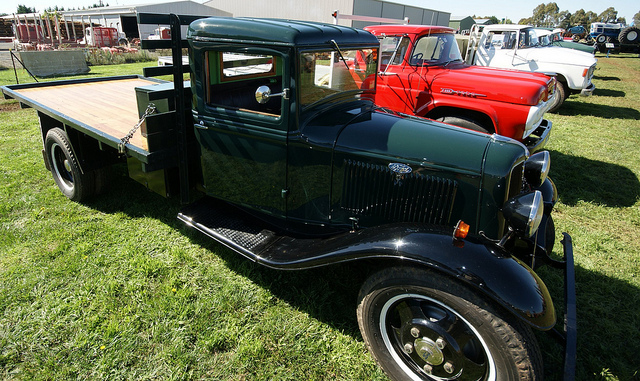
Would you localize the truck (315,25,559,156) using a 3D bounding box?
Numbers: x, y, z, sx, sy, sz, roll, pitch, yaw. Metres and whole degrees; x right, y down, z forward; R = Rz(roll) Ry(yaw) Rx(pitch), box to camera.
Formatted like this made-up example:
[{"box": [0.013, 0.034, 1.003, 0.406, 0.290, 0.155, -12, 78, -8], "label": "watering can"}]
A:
[{"box": [2.111, -1.743, 8.127, 4.491, 2.134, 2.928, 13, 33, 27], "label": "truck"}]

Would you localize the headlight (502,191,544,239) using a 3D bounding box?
[{"box": [2.345, 0.276, 4.501, 0.407, 0.526, 0.300, 15, 28, 26], "label": "headlight"}]

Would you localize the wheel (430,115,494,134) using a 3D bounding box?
[{"box": [2.860, -1.329, 7.718, 1.191, 0.264, 0.454, 11, 27, 19], "label": "wheel"}]

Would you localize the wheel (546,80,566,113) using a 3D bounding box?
[{"box": [7.604, -2.971, 12.286, 0.321, 0.935, 1.162, 19, 31, 33], "label": "wheel"}]

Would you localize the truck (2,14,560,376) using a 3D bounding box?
[{"box": [-1.140, -0.855, 6.576, 9.534, 3.609, 3.771, 20, 37, 27], "label": "truck"}]
